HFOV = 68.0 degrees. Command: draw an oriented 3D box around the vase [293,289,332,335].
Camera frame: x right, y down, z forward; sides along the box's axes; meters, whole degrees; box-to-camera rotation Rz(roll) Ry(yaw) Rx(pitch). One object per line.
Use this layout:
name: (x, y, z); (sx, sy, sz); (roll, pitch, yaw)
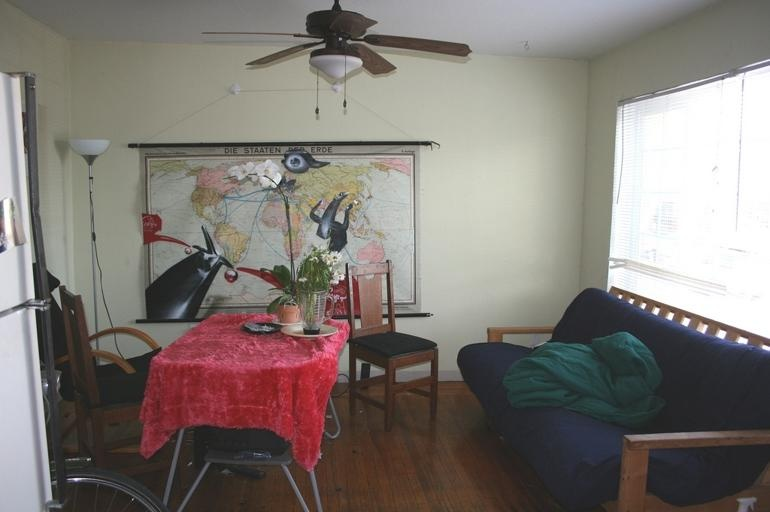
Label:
vase: (-0.432, 0.382, 3.952); (0.307, 0.339, 0.264); (2, -4, -4)

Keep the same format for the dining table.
dining table: (-0.887, 1.021, 3.717); (1.127, 0.979, 0.707); (1, 8, 4)

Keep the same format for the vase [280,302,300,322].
vase: (-0.685, 0.410, 4.140); (0.139, 0.096, 0.135); (3, -4, -9)

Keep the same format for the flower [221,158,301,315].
flower: (-1.078, -0.368, 5.152); (0.590, 0.993, 0.202); (3, 9, 17)
